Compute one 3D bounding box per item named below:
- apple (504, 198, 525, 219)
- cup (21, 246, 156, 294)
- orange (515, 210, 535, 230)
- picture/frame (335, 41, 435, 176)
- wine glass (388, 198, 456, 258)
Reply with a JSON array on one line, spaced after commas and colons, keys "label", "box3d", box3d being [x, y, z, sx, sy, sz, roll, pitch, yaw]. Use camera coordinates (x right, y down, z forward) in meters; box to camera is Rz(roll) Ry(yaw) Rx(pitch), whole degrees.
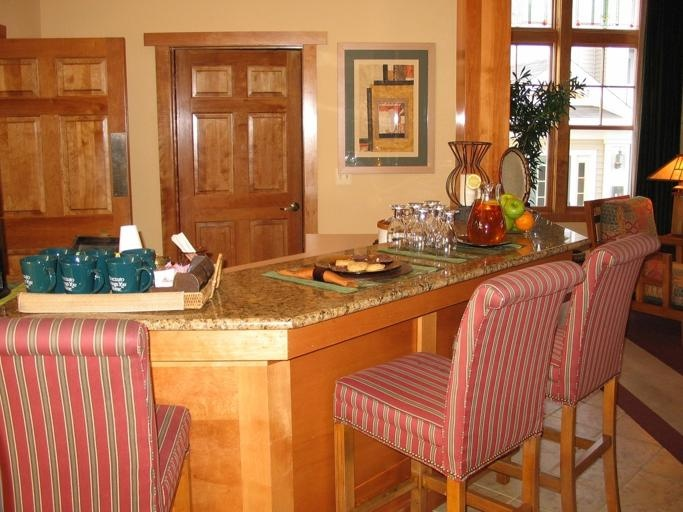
[{"label": "apple", "box3d": [0.887, -0.247, 3.077, 0.105, 0.101, 0.105, -5, 7, -7]}, {"label": "cup", "box3d": [-0.836, 0.052, 2.021, 0.322, 0.124, 0.209, 4, 8, 9]}, {"label": "orange", "box3d": [0.961, -0.187, 3.115, 0.077, 0.078, 0.073, 28, 9, -42]}, {"label": "picture/frame", "box3d": [0.338, -1.261, 4.854, 1.083, 1.342, 0.066, -1, 10, -7]}, {"label": "wine glass", "box3d": [0.374, -0.128, 2.692, 0.257, 0.167, 0.259, 4, 10, 21]}]
